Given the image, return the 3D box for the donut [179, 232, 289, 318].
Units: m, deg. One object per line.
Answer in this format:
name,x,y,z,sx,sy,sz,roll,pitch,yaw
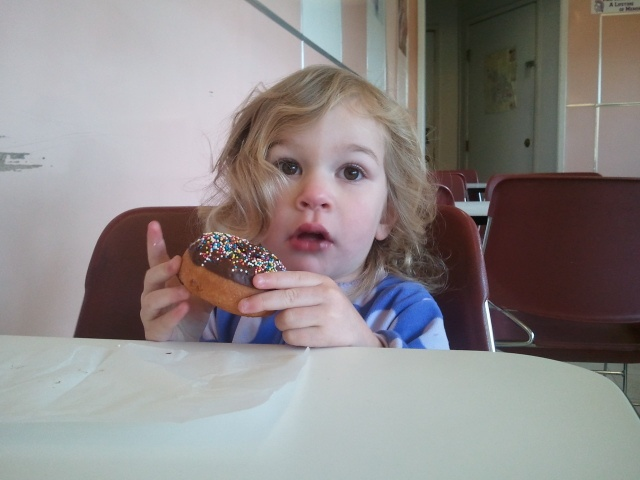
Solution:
donut,-0.138,0.049,0.785,0.152,0.117,0.108,2,7,28
